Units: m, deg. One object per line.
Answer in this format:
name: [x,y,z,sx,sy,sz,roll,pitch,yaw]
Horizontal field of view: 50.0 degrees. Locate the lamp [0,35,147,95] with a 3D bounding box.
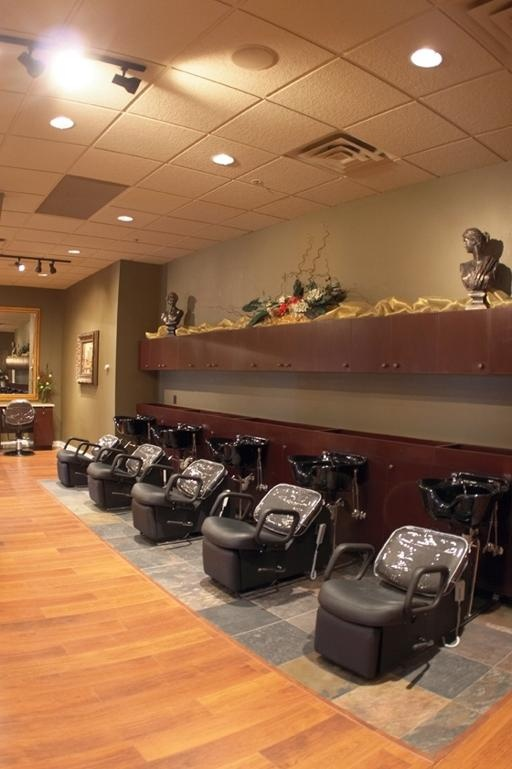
lamp: [-0.936,-1.639,2.867,0.724,0.196,0.206,0,-1,-22]

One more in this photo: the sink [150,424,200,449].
sink: [-0.985,0.647,6.778,0.417,0.284,0.566,0,-1,-30]

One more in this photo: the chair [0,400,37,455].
chair: [-4.620,0.820,10.727,0.566,1.037,1.438,0,-1,-24]

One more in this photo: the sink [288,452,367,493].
sink: [0.592,0.696,4.321,0.428,0.179,0.404,8,-10,-34]

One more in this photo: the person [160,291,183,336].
person: [-1.229,-1.041,8.117,0.297,0.669,0.809,0,-1,-8]

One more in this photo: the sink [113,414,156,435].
sink: [-1.760,0.570,7.822,0.379,0.177,0.429,2,1,-26]

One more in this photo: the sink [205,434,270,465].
sink: [-0.182,0.661,5.530,0.425,0.267,0.542,0,-1,-28]

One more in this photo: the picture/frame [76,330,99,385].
picture/frame: [-3.012,-0.490,9.857,0.114,1.032,1.030,2,-3,-32]
